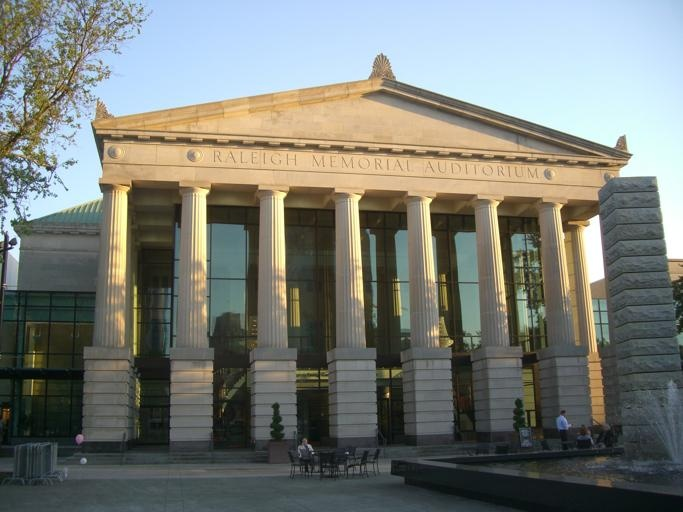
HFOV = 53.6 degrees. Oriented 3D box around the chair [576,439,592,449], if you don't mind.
[{"bbox_3d":[10.826,8.319,30.151,0.608,0.423,0.448,-5,-12,18],"label":"chair"}]
